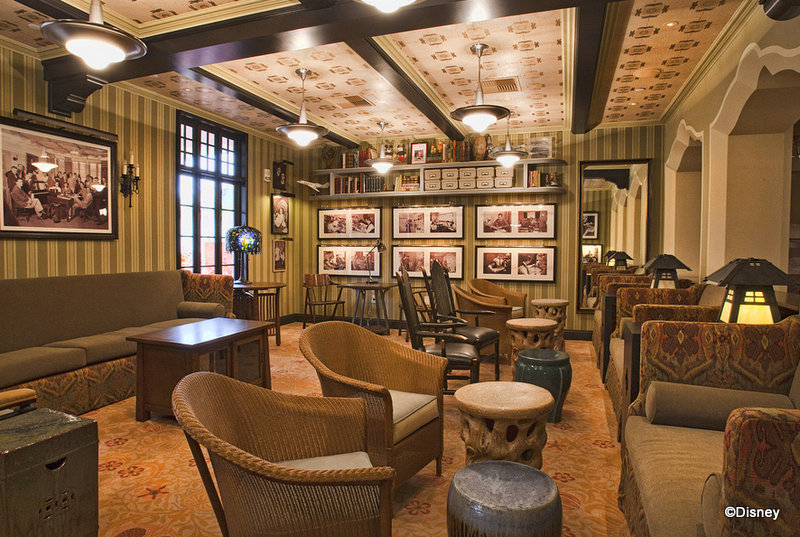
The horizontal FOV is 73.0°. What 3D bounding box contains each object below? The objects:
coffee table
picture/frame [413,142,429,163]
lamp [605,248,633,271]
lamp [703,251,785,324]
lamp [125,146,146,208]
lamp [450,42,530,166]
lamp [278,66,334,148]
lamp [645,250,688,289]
[{"bbox_3d":[-1.999,0.842,5.643,0.935,0.937,1.616,1,1,19],"label":"coffee table"},{"bbox_3d":[0.373,-2.065,9.498,0.409,0.482,0.042,3,5,25],"label":"picture/frame"},{"bbox_3d":[3.556,-0.171,8.919,0.402,0.355,0.353,3,-3,-44],"label":"lamp"},{"bbox_3d":[2.505,0.138,3.928,0.517,0.452,0.498,0,-4,3],"label":"lamp"},{"bbox_3d":[-3.462,-1.163,7.114,0.149,0.636,0.258,1,2,31],"label":"lamp"},{"bbox_3d":[1.154,-2.080,6.958,1.146,1.448,0.812,-3,-5,28],"label":"lamp"},{"bbox_3d":[-1.202,-2.077,7.032,0.901,1.148,0.865,-1,-3,0],"label":"lamp"},{"bbox_3d":[3.023,-0.005,6.229,0.513,0.457,0.506,1,-1,-42],"label":"lamp"}]
